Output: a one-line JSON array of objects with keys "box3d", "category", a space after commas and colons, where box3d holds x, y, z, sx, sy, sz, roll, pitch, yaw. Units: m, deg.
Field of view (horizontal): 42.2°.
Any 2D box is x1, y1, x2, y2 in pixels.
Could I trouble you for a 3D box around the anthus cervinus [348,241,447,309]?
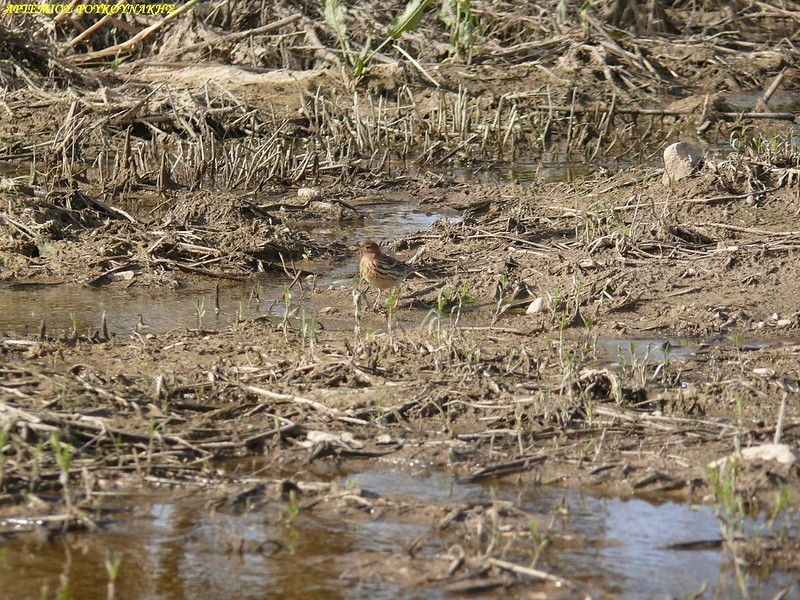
[{"box3d": [-0.079, -0.248, 8.136, 0.298, 0.455, 0.818, 18, 18, 36], "category": "anthus cervinus"}]
